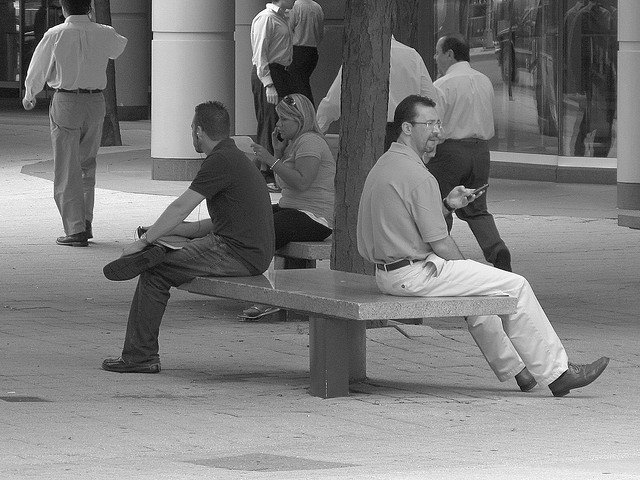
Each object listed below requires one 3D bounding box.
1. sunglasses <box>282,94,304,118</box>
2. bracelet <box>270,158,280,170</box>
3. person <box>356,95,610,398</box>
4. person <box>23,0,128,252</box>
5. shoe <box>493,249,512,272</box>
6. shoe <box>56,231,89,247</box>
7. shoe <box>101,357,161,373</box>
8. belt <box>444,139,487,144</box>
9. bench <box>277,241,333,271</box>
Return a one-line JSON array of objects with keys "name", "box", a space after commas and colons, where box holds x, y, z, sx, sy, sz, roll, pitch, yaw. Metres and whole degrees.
[{"name": "sunglasses", "box": [-0.224, -1.131, 10.533, 0.051, 0.120, 0.087, -44, 26, 3]}, {"name": "bracelet", "box": [-0.377, -0.601, 10.380, 0.018, 0.069, 0.071, 44, 39, 0]}, {"name": "person", "box": [0.937, 0.049, 8.338, 1.385, 1.943, 0.497, 1, 11, 1]}, {"name": "person", "box": [-2.762, -1.303, 14.013, 0.824, 2.649, 1.024, 1, 11, -1]}, {"name": "shoe", "box": [1.670, 0.185, 11.803, 0.159, 0.217, 0.291, 2, 10, 7]}, {"name": "shoe", "box": [-2.680, -0.014, 13.889, 0.343, 0.132, 0.138, 6, 7, 18]}, {"name": "shoe", "box": [-1.306, 0.874, 8.880, 0.382, 0.115, 0.129, 4, -4, -5]}, {"name": "belt", "box": [1.354, -0.916, 11.869, 0.425, 0.049, 0.078, -2, 10, -18]}, {"name": "bench", "box": [-0.079, 0.113, 10.576, 0.259, 0.200, 0.474, 9, 10, 38]}]
